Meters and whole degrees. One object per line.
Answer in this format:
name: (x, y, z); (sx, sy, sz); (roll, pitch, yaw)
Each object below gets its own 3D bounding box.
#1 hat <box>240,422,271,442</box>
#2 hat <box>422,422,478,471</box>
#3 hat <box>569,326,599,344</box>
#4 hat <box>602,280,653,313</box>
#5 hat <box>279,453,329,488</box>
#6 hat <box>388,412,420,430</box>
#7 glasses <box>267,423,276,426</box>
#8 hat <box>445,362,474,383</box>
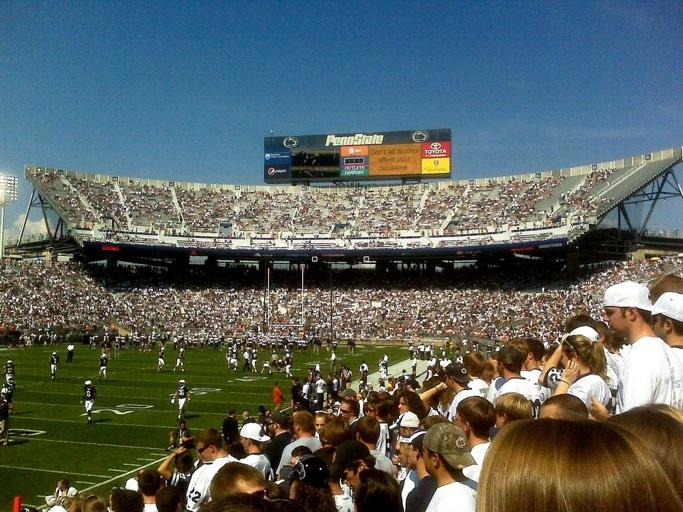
hat: (-1.114, 2.173, 9.138); (0.373, 0.137, 0.266); (6, 2, 38)
hat: (0.977, 1.661, 6.689); (0.343, 0.242, 0.458); (2, 11, -46)
hat: (2.707, 0.857, 8.284); (0.206, 0.152, 0.274); (6, -3, 15)
hat: (2.735, 0.378, 7.139); (0.426, 0.212, 0.266); (1, 1, 4)
hat: (-0.304, 1.841, 6.454); (0.309, 0.158, 0.220); (-4, -14, 45)
hat: (0.742, 1.955, 8.874); (0.283, 0.143, 0.184); (-2, -8, 13)
glasses: (-0.953, 2.253, 10.092); (0.087, 0.034, 0.084); (9, -19, -20)
hat: (1.508, 1.479, 9.571); (0.303, 0.150, 0.226); (12, 12, 44)
